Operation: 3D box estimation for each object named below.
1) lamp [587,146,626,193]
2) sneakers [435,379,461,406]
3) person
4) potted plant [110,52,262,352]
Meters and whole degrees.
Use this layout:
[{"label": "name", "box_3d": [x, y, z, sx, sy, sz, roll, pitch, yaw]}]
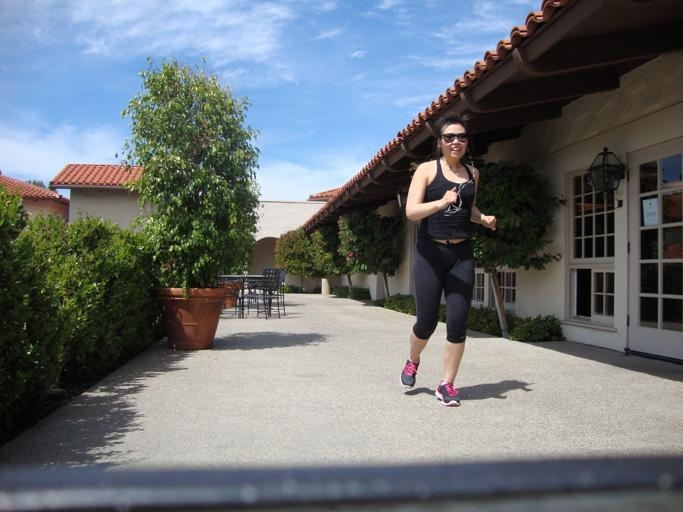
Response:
[{"label": "lamp", "box_3d": [3.069, -1.001, 5.597, 0.318, 0.532, 0.257, -5, 2, -11]}, {"label": "sneakers", "box_3d": [0.763, 0.984, 3.457, 0.096, 0.102, 0.222, 3, -7, -15]}, {"label": "person", "box_3d": [0.750, 0.047, 3.448, 0.696, 1.451, 0.723, -4, 2, 8]}, {"label": "potted plant", "box_3d": [-1.798, -0.638, 6.024, 1.522, 3.433, 0.753, -5, 2, -26]}]
